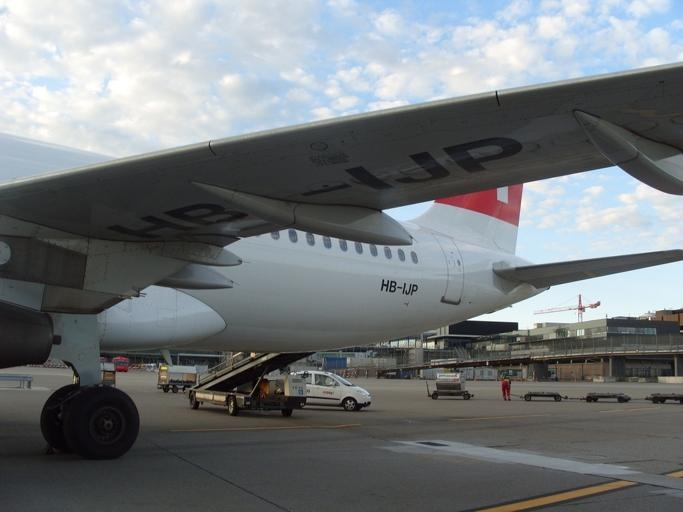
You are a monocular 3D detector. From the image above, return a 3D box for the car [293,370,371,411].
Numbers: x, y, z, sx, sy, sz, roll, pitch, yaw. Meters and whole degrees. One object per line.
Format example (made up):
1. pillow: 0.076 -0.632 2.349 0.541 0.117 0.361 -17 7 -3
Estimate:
1. car: -0.296 5.774 26.303 4.150 1.092 1.877 -2 -9 9
